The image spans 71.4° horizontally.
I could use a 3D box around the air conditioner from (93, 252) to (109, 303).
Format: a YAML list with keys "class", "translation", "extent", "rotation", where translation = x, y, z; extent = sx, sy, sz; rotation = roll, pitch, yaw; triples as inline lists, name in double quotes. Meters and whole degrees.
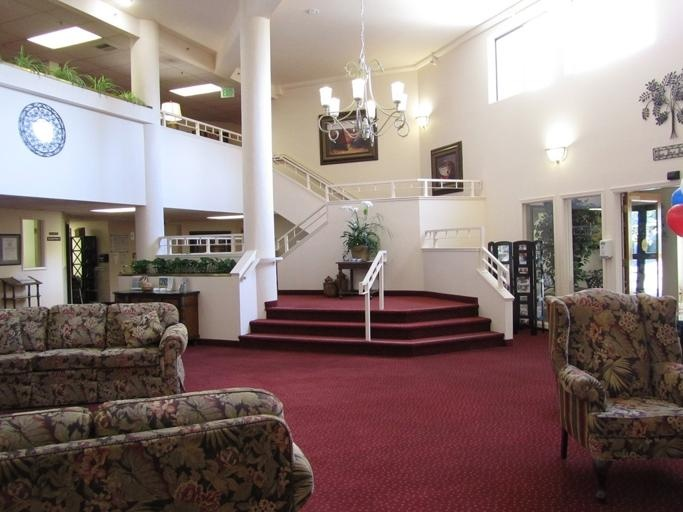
- class: "air conditioner"
  translation: [-7.047, 0.606, 14.024]
  extent: [0.538, 1.512, 0.149]
  rotation: [1, 2, 7]

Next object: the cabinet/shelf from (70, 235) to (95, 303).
- class: "cabinet/shelf"
  translation: [-7.905, 0.338, 14.097]
  extent: [0.712, 2.071, 0.755]
  rotation: [-6, 4, -27]

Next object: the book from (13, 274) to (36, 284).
- class: "book"
  translation: [-7.156, 0.535, 10.705]
  extent: [0.250, 0.067, 0.277]
  rotation: [4, 14, -17]

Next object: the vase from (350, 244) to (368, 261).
- class: "vase"
  translation: [0.404, -0.060, 10.469]
  extent: [0.305, 0.245, 0.318]
  rotation: [-1, -4, 3]

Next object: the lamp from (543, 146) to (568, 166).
- class: "lamp"
  translation: [4.133, -1.903, 9.093]
  extent: [0.307, 0.304, 0.302]
  rotation: [0, 4, 7]

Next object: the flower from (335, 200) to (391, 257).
- class: "flower"
  translation: [0.506, -0.555, 10.755]
  extent: [0.868, 1.252, 0.810]
  rotation: [-3, 3, -25]

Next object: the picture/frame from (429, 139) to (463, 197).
- class: "picture/frame"
  translation: [2.597, -2.164, 11.844]
  extent: [0.488, 1.273, 1.333]
  rotation: [-2, 3, -17]

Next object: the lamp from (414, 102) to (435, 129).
- class: "lamp"
  translation: [2.168, -3.746, 12.552]
  extent: [0.181, 0.734, 0.620]
  rotation: [-3, 3, -24]

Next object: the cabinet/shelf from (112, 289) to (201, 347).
- class: "cabinet/shelf"
  translation: [-2.490, 0.871, 6.567]
  extent: [0.926, 0.707, 0.346]
  rotation: [0, 1, 8]

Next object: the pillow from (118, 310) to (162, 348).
- class: "pillow"
  translation: [-2.350, 0.870, 5.540]
  extent: [0.398, 0.416, 0.212]
  rotation: [-7, -30, -7]
